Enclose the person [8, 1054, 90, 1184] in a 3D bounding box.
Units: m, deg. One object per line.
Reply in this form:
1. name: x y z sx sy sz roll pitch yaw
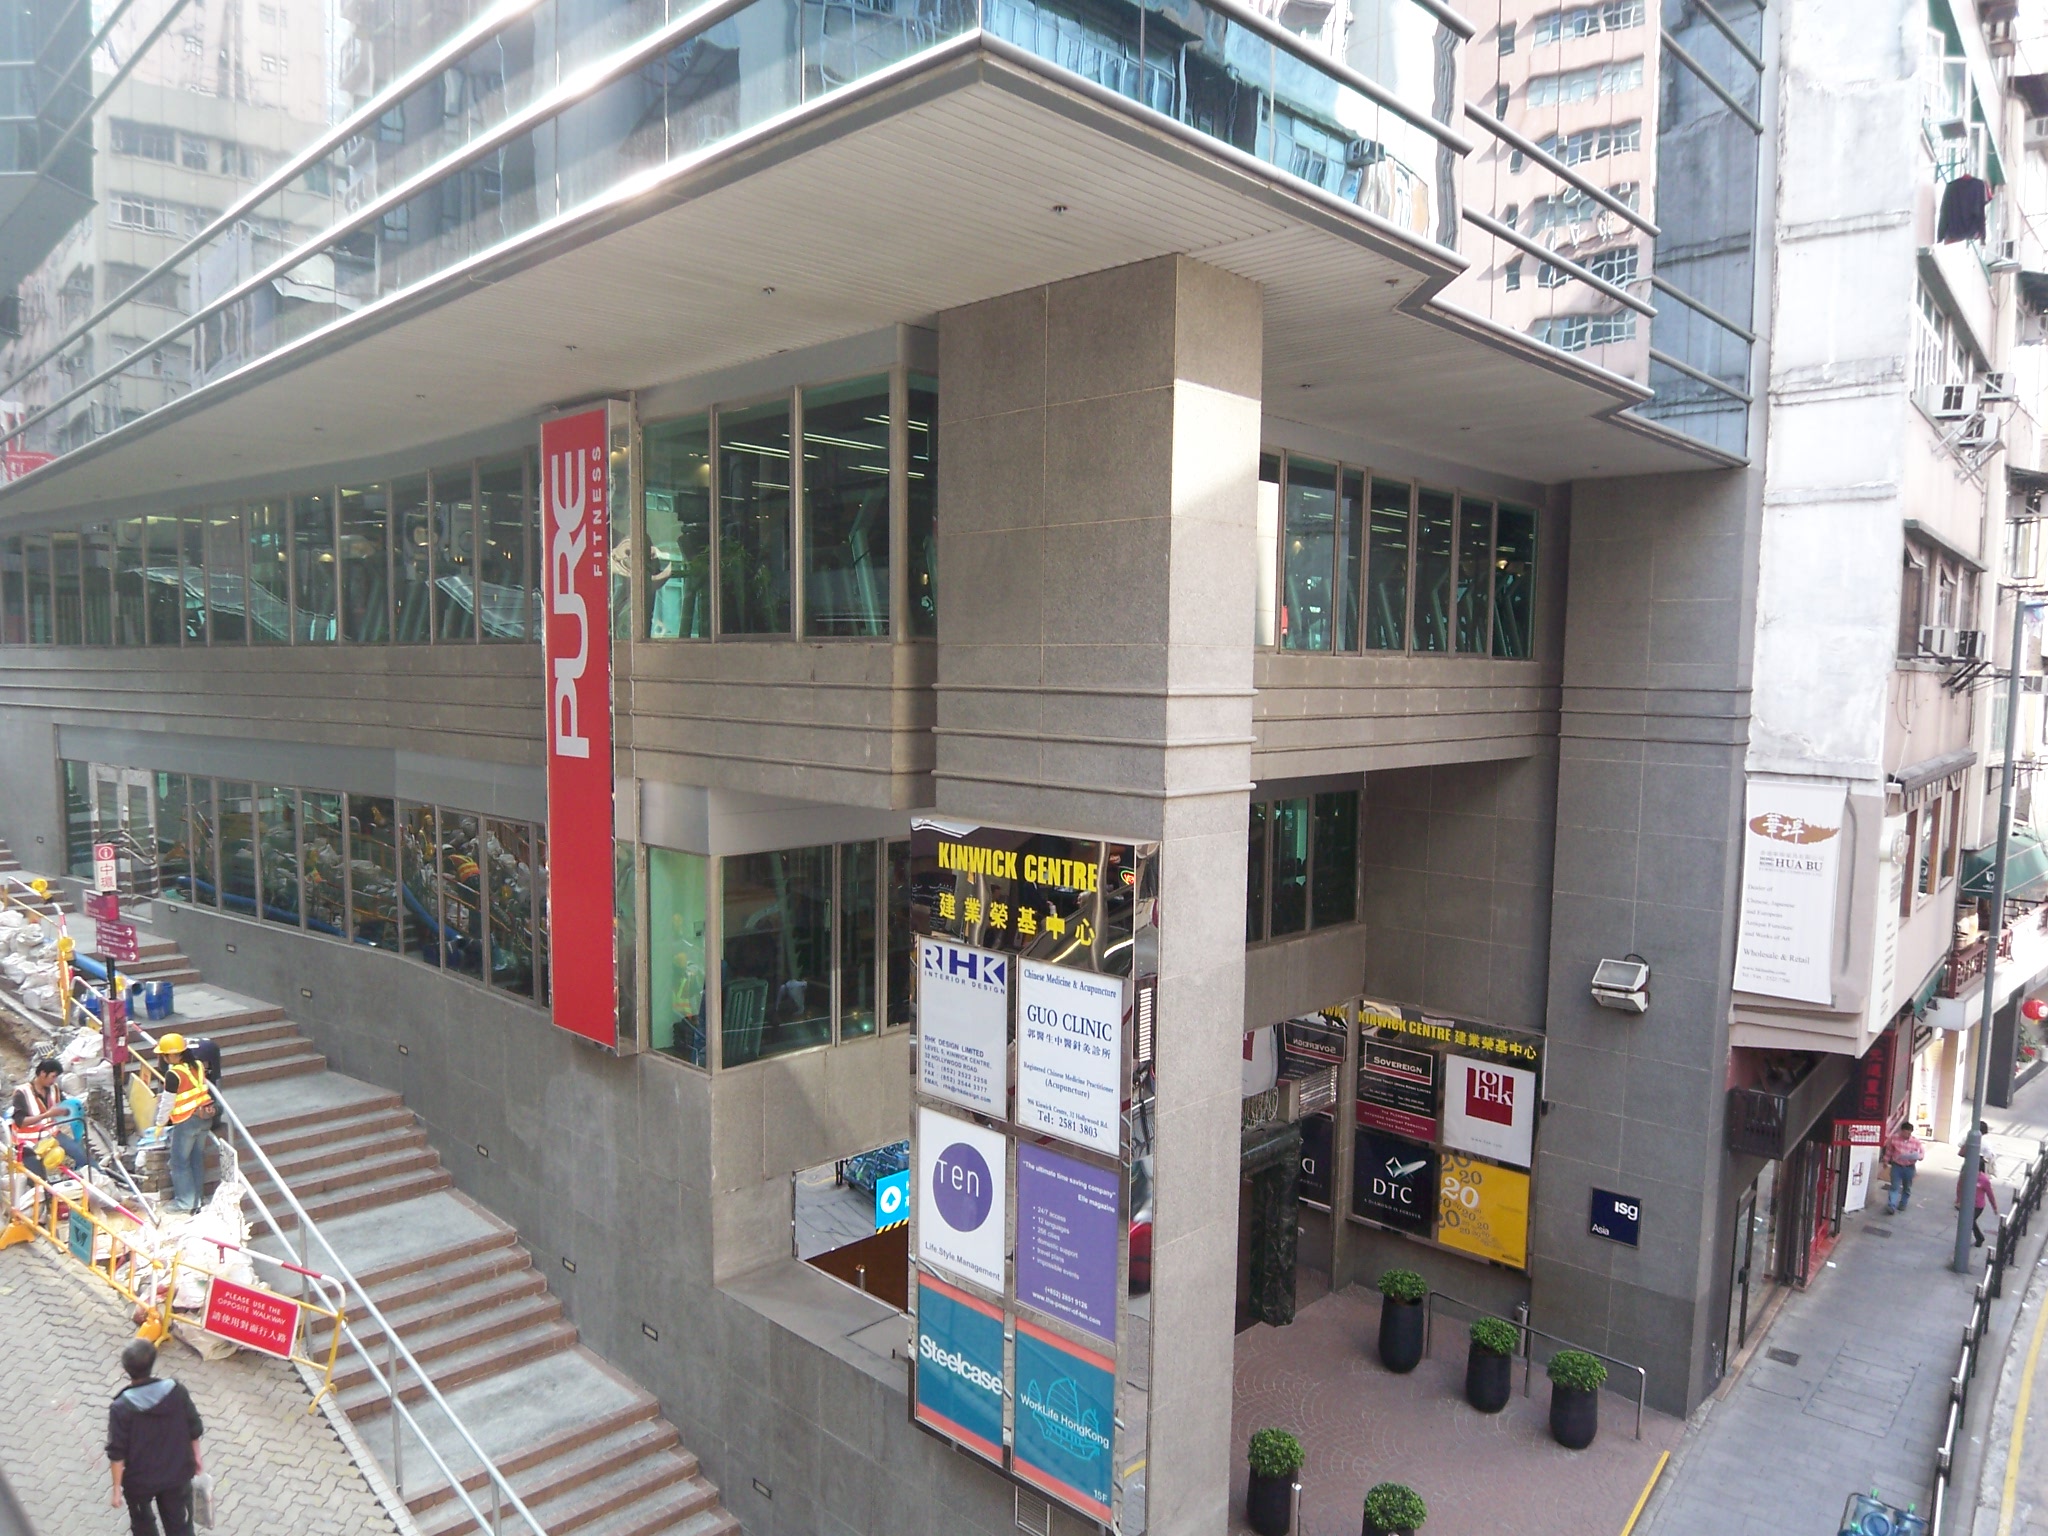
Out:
1. person: -12.630 4.600 22.059 0.652 1.727 0.985 -32 -19 19
